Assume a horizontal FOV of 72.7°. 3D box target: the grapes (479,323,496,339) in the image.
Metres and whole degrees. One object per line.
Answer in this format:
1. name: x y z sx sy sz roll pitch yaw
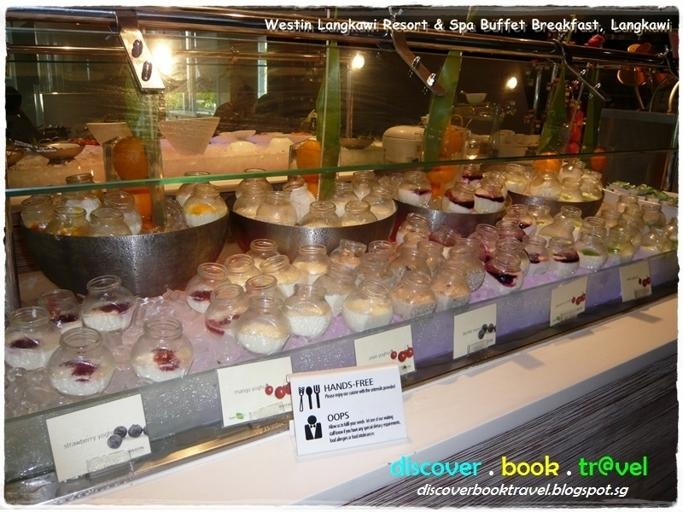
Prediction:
1. grapes: 0.375 0.195 1.227 0.060 0.036 0.016 -13 17 -36

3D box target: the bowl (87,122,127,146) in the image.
1. bowl: -0.551 -0.296 1.096 0.076 0.035 0.108 -26 34 -38

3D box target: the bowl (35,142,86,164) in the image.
1. bowl: -0.655 -0.244 1.083 0.074 0.023 0.068 2 22 -1
